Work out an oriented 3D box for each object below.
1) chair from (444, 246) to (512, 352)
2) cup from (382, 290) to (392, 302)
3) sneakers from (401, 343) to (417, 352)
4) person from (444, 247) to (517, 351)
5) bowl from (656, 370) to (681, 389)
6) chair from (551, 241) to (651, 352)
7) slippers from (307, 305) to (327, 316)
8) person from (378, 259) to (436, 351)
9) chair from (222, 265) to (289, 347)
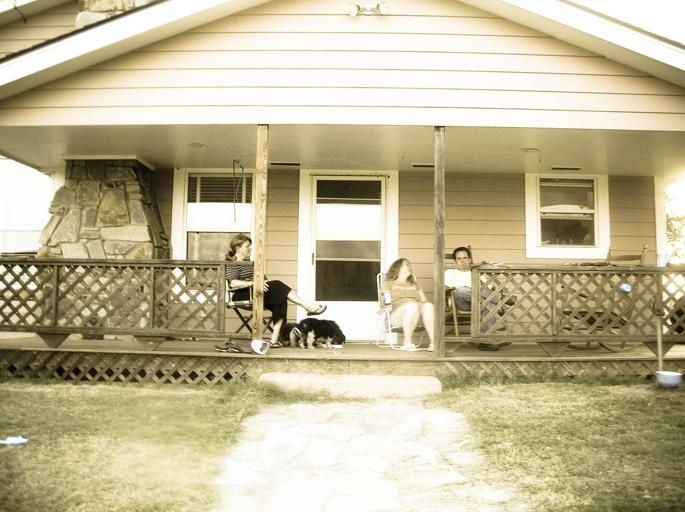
[{"bbox_3d":[1.840,0.638,11.028,0.857,1.519,0.864,12,-43,-7],"label":"chair"},{"bbox_3d":[0.604,0.545,10.955,0.148,0.247,0.138,1,-6,0],"label":"cup"},{"bbox_3d":[0.898,1.213,10.761,0.163,0.055,0.097,-1,2,13],"label":"sneakers"},{"bbox_3d":[1.927,0.524,11.406,0.924,1.441,0.871,-9,-7,-7],"label":"person"},{"bbox_3d":[4.055,1.508,9.936,0.290,0.201,0.356,0,-1,20],"label":"bowl"},{"bbox_3d":[3.345,0.357,10.873,0.905,1.058,0.636,-3,-11,15],"label":"chair"},{"bbox_3d":[-0.346,0.735,10.704,0.232,0.076,0.129,-14,13,17],"label":"slippers"},{"bbox_3d":[0.892,0.639,11.097,0.675,1.245,1.564,0,-1,1],"label":"person"},{"bbox_3d":[-1.170,0.561,10.858,0.754,1.025,0.772,6,7,13],"label":"chair"}]
